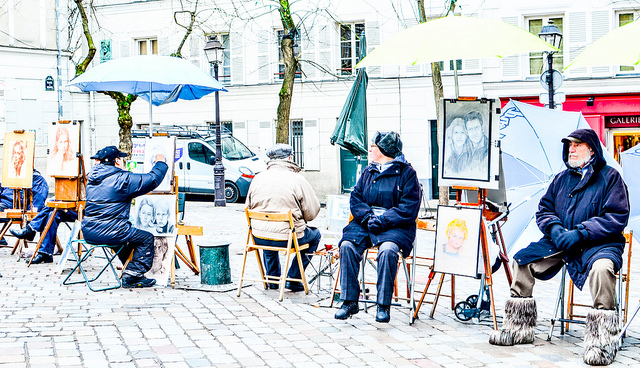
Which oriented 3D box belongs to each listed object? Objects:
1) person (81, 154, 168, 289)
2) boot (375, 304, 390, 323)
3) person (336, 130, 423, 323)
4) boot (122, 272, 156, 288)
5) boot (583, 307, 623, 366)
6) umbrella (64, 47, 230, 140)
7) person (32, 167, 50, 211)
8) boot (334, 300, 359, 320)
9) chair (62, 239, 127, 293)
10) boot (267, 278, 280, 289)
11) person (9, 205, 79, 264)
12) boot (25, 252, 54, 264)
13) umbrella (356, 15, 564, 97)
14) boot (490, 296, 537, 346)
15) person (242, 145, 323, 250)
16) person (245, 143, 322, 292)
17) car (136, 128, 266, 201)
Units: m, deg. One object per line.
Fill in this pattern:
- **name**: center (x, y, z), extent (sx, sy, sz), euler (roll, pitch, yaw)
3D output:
- **person**: center (-3.722, 0.741, 15.547), extent (1.548, 2.325, 0.811), euler (-3, 12, -15)
- **boot**: center (1.041, 2.165, 13.714), extent (0.271, 0.350, 0.813), euler (0, -5, 3)
- **person**: center (0.973, 0.686, 13.972), extent (1.147, 3.039, 1.352), euler (6, 14, 28)
- **boot**: center (-3.471, 1.828, 15.632), extent (0.611, 0.325, 0.220), euler (-1, 2, -15)
- **boot**: center (4.362, 2.347, 12.689), extent (0.557, 0.805, 0.458), euler (2, 12, 11)
- **umbrella**: center (-3.511, -2.159, 16.810), extent (2.424, 1.672, 2.482), euler (2, 4, 28)
- **person**: center (-6.189, 0.005, 18.073), extent (0.330, 0.833, 1.335), euler (-4, 13, -18)
- **boot**: center (0.452, 2.127, 13.858), extent (0.207, 0.233, 0.517), euler (4, 7, 43)
- **chair**: center (-4.475, 1.683, 16.212), extent (1.065, 1.000, 1.223), euler (3, -3, -24)
- **boot**: center (-0.887, 1.875, 15.464), extent (0.217, 0.165, 0.185), euler (0, 1, 1)
- **person**: center (-5.745, 1.015, 17.226), extent (1.352, 1.184, 0.745), euler (-2, 12, -11)
- **boot**: center (-5.856, 1.532, 17.140), extent (0.635, 0.293, 0.213), euler (4, -3, -16)
- **umbrella**: center (2.501, -1.791, 14.353), extent (2.759, 1.918, 3.020), euler (-4, 10, 17)
- **boot**: center (3.108, 2.214, 13.354), extent (0.786, 0.778, 0.506), euler (-1, 1, -10)
- **person**: center (-0.703, 0.279, 15.186), extent (1.335, 1.928, 0.798), euler (0, 12, -2)
- **person**: center (-0.700, 0.654, 15.200), extent (1.336, 2.698, 0.773), euler (0, 12, 1)
- **car**: center (-4.564, -0.723, 27.809), extent (4.395, 2.158, 2.444), euler (-1, 2, 8)
